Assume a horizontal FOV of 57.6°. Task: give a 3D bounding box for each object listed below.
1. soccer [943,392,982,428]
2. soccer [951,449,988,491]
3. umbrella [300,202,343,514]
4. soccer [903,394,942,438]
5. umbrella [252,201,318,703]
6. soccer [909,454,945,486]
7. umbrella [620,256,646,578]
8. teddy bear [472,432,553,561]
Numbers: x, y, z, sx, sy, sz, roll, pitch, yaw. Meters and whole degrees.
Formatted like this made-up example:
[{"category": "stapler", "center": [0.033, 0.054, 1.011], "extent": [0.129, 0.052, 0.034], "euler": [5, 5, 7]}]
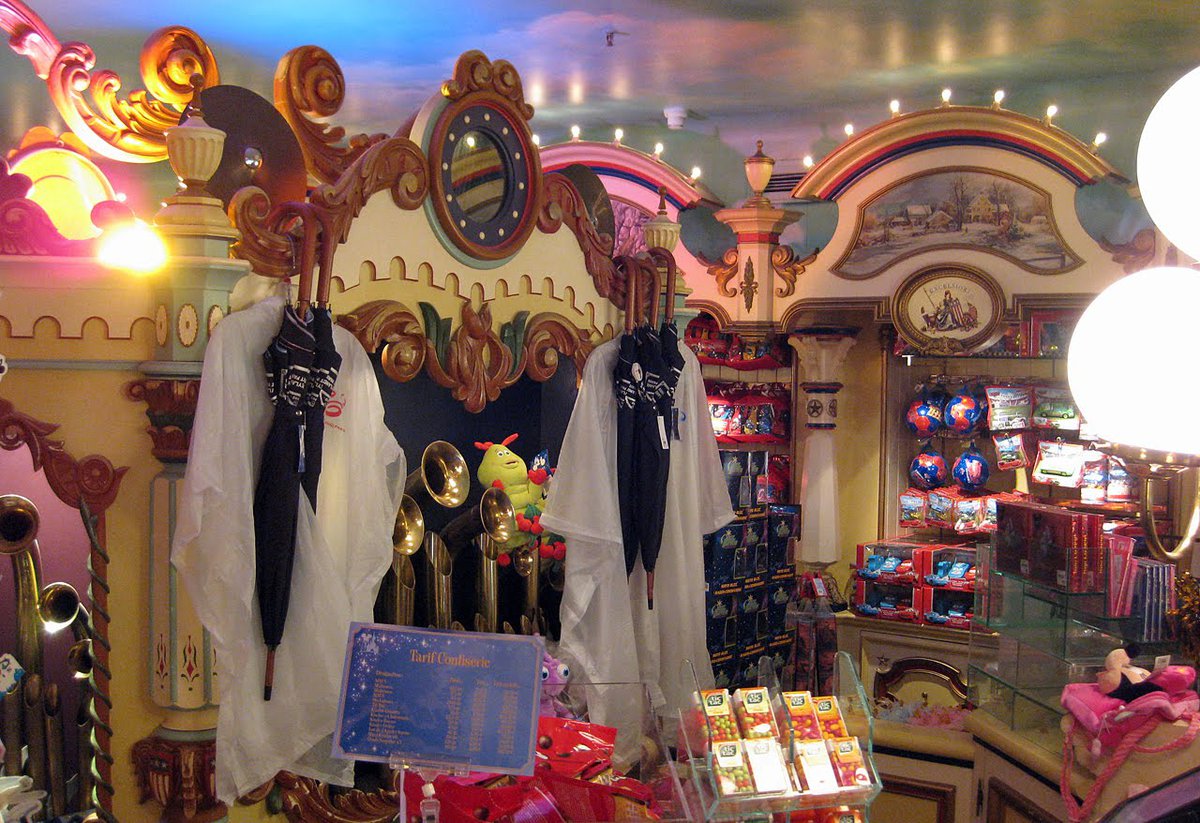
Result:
[{"category": "soccer", "center": [2.609, 0.008, 7.884], "extent": [0.278, 0.273, 0.136], "euler": [-4, -9, 25]}, {"category": "soccer", "center": [2.717, 0.431, 7.992], "extent": [0.262, 0.333, 0.273], "euler": [-2, -9, 14]}, {"category": "umbrella", "center": [-1.178, -0.244, 4.537], "extent": [0.224, 1.320, 0.224], "euler": [1, -23, -9]}, {"category": "soccer", "center": [2.376, 0.042, 8.024], "extent": [0.265, 0.320, 0.269], "euler": [-1, 7, 1]}, {"category": "umbrella", "center": [-1.288, 0.153, 4.462], "extent": [0.316, 2.019, 0.242], "euler": [-6, -10, 40]}, {"category": "soccer", "center": [2.473, 0.452, 8.226], "extent": [0.270, 0.281, 0.284], "euler": [-2, -9, 12]}, {"category": "umbrella", "center": [0.193, -0.010, 5.740], "extent": [0.197, 1.634, 0.346], "euler": [0, -8, 3]}, {"category": "teddy bear", "center": [-0.486, 0.437, 5.799], "extent": [0.310, 0.650, 0.478], "euler": [-3, -9, 21]}]
